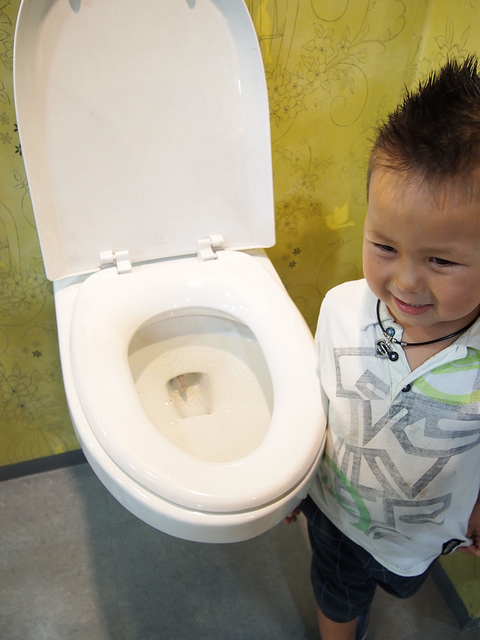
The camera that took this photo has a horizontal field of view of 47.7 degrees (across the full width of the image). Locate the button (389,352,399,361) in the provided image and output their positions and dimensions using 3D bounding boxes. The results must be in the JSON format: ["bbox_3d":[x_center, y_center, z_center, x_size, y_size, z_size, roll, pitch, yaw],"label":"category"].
[{"bbox_3d":[0.163,0.039,0.572,0.010,0.008,0.006,11,37,21],"label":"button"}]

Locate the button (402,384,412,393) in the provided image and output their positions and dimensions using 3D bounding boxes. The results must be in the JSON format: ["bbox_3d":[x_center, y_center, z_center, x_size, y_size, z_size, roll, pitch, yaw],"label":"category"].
[{"bbox_3d":[0.171,0.071,0.555,0.007,0.009,0.002,5,35,14],"label":"button"}]
